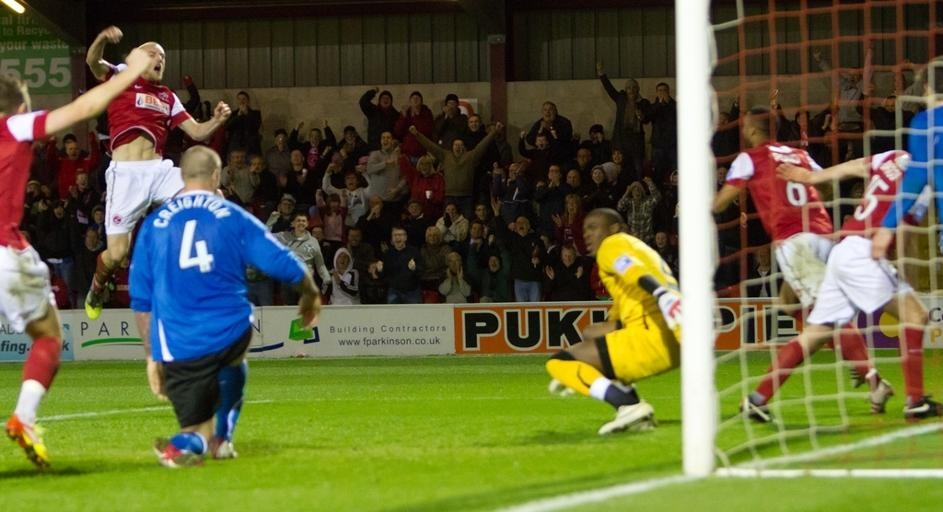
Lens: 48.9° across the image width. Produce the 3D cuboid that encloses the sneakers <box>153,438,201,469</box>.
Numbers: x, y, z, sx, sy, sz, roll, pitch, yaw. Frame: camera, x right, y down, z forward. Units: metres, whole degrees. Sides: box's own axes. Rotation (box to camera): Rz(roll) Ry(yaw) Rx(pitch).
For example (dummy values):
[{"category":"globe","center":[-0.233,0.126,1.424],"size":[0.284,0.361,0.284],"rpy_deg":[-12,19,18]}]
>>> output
[{"category":"sneakers","center":[-2.930,1.959,10.254],"size":[0.427,0.179,0.246],"rpy_deg":[21,10,-14]}]

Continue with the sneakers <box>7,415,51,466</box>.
[{"category":"sneakers","center":[-4.457,1.853,10.339],"size":[0.180,0.490,0.282],"rpy_deg":[-37,8,-15]}]

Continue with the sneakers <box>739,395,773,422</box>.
[{"category":"sneakers","center":[3.034,1.637,11.015],"size":[0.433,0.181,0.235],"rpy_deg":[25,-4,-19]}]

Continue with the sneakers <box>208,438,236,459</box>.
[{"category":"sneakers","center":[-2.529,1.938,10.417],"size":[0.342,0.141,0.130],"rpy_deg":[2,-1,-39]}]

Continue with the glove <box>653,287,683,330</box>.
[{"category":"glove","center":[1.948,0.521,10.237],"size":[0.124,0.361,0.368],"rpy_deg":[-10,5,-27]}]
